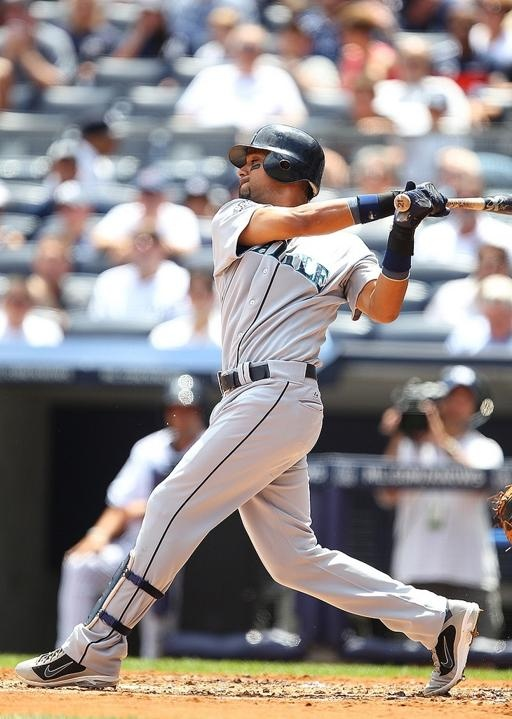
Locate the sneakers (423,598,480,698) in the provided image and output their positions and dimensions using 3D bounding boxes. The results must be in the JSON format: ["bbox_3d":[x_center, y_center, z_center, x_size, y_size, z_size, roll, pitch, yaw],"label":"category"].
[{"bbox_3d":[0.555,0.826,3.148,0.170,0.299,0.099,9,20,-12],"label":"sneakers"}]

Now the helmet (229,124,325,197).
[{"bbox_3d":[0.034,-0.609,3.285,0.314,0.204,0.202,11,69,12],"label":"helmet"}]

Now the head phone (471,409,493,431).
[{"bbox_3d":[0.993,0.259,4.886,0.117,0.117,0.049,2,5,-22],"label":"head phone"}]

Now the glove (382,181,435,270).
[{"bbox_3d":[0.366,-0.357,2.896,0.092,0.209,0.178,4,14,-39],"label":"glove"}]

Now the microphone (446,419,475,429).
[{"bbox_3d":[0.875,0.280,4.709,0.118,0.031,0.024,1,-10,-17],"label":"microphone"}]

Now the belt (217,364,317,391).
[{"bbox_3d":[-0.014,0.046,3.027,0.164,0.041,0.118,-5,-2,26],"label":"belt"}]
